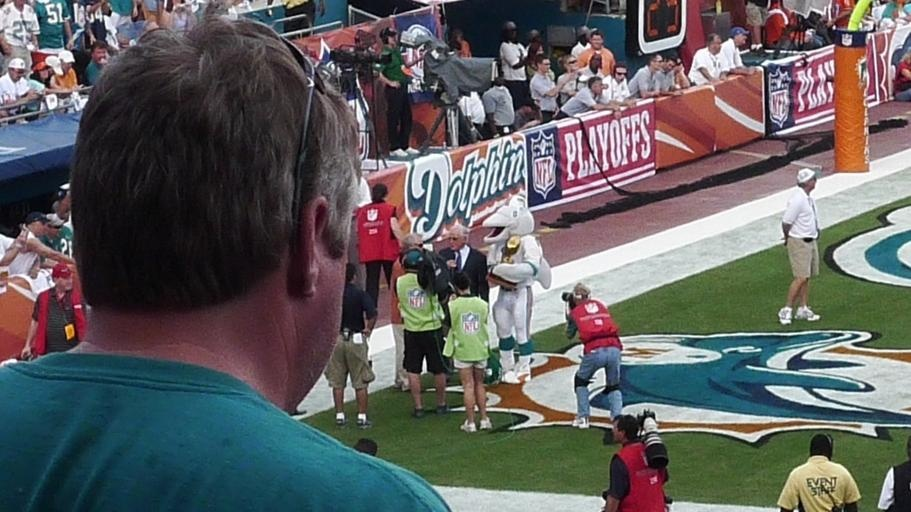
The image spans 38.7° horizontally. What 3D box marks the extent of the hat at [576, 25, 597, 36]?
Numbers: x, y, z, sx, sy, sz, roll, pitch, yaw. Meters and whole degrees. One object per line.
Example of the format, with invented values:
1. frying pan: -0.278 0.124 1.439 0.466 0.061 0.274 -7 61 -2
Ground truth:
1. hat: 3.724 -6.479 37.451 0.489 0.209 0.648 -14 6 3

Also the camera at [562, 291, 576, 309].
1. camera: 2.200 0.839 25.309 0.296 0.279 0.090 16 -21 -39

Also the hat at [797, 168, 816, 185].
1. hat: 7.590 -1.731 28.015 0.318 0.348 0.389 -4 -5 21

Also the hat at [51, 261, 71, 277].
1. hat: -7.604 0.259 24.949 0.321 0.172 0.230 -6 17 -4

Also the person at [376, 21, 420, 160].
1. person: -1.463 -4.287 33.738 0.782 3.270 1.433 6 15 44

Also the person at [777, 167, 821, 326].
1. person: 7.488 -0.230 28.373 1.025 3.296 1.401 3 6 42

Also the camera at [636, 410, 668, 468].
1. camera: 3.401 3.041 21.989 0.418 0.398 1.011 3 43 -10

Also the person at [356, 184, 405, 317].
1. person: -1.702 -0.203 28.112 1.040 2.626 0.731 -1 1 -40

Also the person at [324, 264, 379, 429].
1. person: -2.086 1.783 25.741 1.253 3.269 0.905 2 -1 -26
